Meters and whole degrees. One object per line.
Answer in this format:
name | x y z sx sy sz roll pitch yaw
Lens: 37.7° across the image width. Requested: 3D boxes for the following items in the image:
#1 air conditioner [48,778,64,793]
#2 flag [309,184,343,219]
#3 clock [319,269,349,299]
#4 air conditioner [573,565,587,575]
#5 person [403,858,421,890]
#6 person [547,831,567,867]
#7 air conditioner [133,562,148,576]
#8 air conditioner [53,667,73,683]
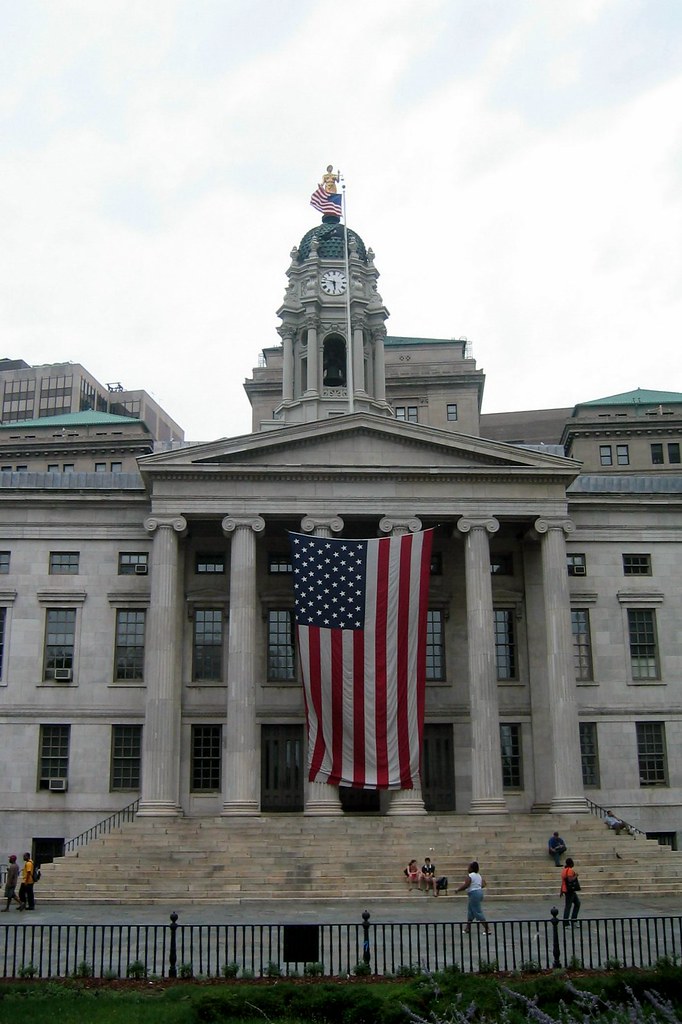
air conditioner | -10.776 10.365 38.037 0.824 0.576 0.446 1 -22 -7
flag | -0.671 -16.034 51.074 1.434 1.480 1.173 0 5 1
clock | -0.471 -13.220 57.513 1.387 1.648 1.650 0 5 -4
air conditioner | 9.912 2.389 41.603 0.614 0.574 0.311 0 3 -6
person | 2.067 10.310 28.556 0.425 0.695 0.931 1 5 3
person | 6.661 10.350 30.883 0.531 0.931 1.091 1 5 12
air conditioner | -8.078 2.280 40.534 0.480 0.543 0.674 -2 6 -25
air conditioner | -10.901 6.293 39.356 0.835 0.602 0.507 0 -25 -2
